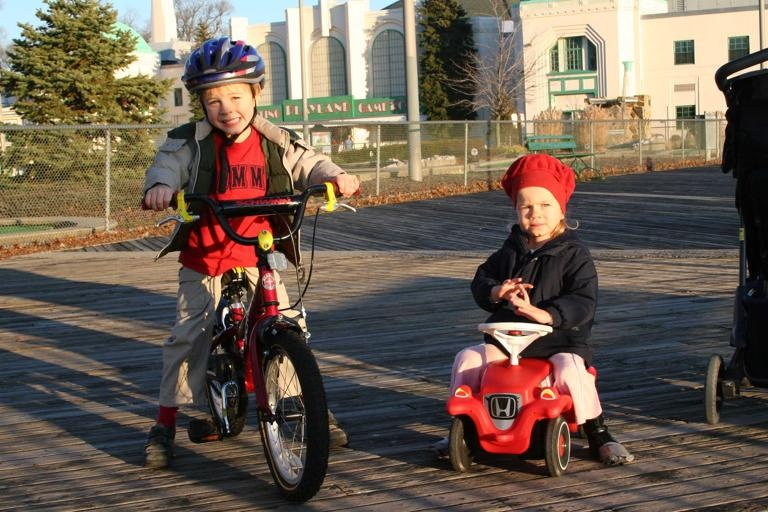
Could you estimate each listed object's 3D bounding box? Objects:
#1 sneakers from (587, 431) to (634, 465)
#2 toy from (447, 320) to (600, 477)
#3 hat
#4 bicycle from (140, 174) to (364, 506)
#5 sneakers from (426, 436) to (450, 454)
[{"bbox_3d":[1.253,1.051,4.732,0.148,0.159,0.371,-1,6,-9],"label":"sneakers"},{"bbox_3d":[0.697,0.751,4.486,0.570,0.608,1.021,0,-2,18],"label":"toy"},{"bbox_3d":[0.904,-0.437,4.932,0.349,0.299,0.370,1,-36,7],"label":"hat"},{"bbox_3d":[-0.695,0.439,4.489,0.848,1.582,1.205,-8,13,-26],"label":"bicycle"},{"bbox_3d":[0.308,1.088,4.807,0.101,0.039,0.136,0,11,9],"label":"sneakers"}]
